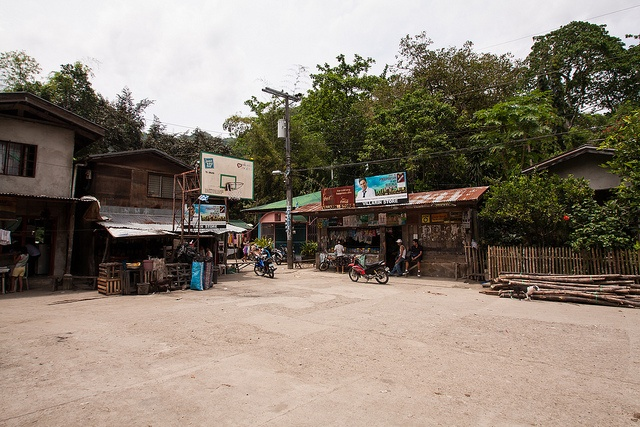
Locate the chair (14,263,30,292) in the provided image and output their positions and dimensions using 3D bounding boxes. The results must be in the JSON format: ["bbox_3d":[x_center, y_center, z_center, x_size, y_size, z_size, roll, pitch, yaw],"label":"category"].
[{"bbox_3d":[-12.523,2.518,19.177,0.523,1.536,0.979,2,-7,-34],"label":"chair"}]

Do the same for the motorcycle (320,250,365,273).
[{"bbox_3d":[1.251,2.765,26.381,2.164,1.336,1.143,1,-3,19],"label":"motorcycle"}]

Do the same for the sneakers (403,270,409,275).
[{"bbox_3d":[4.503,3.074,23.928,0.181,0.189,0.425,-7,-13,11],"label":"sneakers"}]

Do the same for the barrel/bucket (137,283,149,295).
[{"bbox_3d":[-7.281,3.117,18.947,0.484,0.371,0.408,0,-8,-6],"label":"barrel/bucket"}]

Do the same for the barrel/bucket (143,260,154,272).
[{"bbox_3d":[-7.230,2.219,19.314,0.456,0.477,0.368,0,-1,35],"label":"barrel/bucket"}]

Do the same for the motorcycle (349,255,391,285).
[{"bbox_3d":[2.419,2.788,21.850,1.738,1.113,0.869,-2,-4,37],"label":"motorcycle"}]

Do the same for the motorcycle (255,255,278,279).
[{"bbox_3d":[-2.847,2.838,23.984,0.642,1.072,1.625,3,-8,-37],"label":"motorcycle"}]

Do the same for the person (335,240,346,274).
[{"bbox_3d":[1.125,2.540,26.094,0.546,1.665,1.069,-2,-6,2],"label":"person"}]

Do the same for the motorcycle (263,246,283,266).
[{"bbox_3d":[-3.106,2.914,31.736,1.627,1.064,0.942,8,5,36],"label":"motorcycle"}]

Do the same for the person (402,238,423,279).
[{"bbox_3d":[4.897,2.338,23.731,0.693,1.911,1.031,3,-7,-35],"label":"person"}]

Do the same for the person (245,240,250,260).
[{"bbox_3d":[-5.333,2.772,33.907,0.387,1.165,1.079,-8,7,-9],"label":"person"}]
